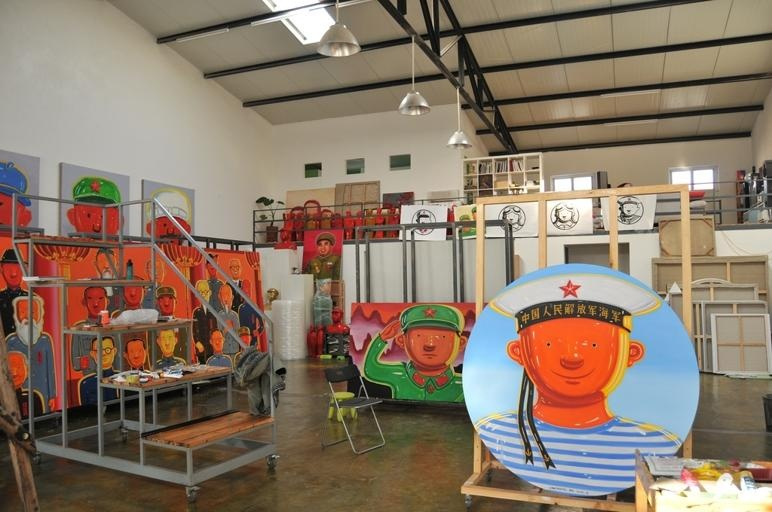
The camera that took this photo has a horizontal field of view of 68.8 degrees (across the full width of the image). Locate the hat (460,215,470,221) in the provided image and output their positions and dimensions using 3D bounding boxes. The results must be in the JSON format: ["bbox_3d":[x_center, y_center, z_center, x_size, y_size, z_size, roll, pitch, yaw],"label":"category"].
[{"bbox_3d":[1.800,-0.873,12.723,0.220,0.093,0.234,0,-2,-19],"label":"hat"}]

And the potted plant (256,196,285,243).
[{"bbox_3d":[-3.731,-1.191,18.016,0.868,1.448,1.132,1,7,9],"label":"potted plant"}]

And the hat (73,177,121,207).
[{"bbox_3d":[-6.607,-1.514,12.834,0.267,0.607,1.176,3,8,23],"label":"hat"}]
